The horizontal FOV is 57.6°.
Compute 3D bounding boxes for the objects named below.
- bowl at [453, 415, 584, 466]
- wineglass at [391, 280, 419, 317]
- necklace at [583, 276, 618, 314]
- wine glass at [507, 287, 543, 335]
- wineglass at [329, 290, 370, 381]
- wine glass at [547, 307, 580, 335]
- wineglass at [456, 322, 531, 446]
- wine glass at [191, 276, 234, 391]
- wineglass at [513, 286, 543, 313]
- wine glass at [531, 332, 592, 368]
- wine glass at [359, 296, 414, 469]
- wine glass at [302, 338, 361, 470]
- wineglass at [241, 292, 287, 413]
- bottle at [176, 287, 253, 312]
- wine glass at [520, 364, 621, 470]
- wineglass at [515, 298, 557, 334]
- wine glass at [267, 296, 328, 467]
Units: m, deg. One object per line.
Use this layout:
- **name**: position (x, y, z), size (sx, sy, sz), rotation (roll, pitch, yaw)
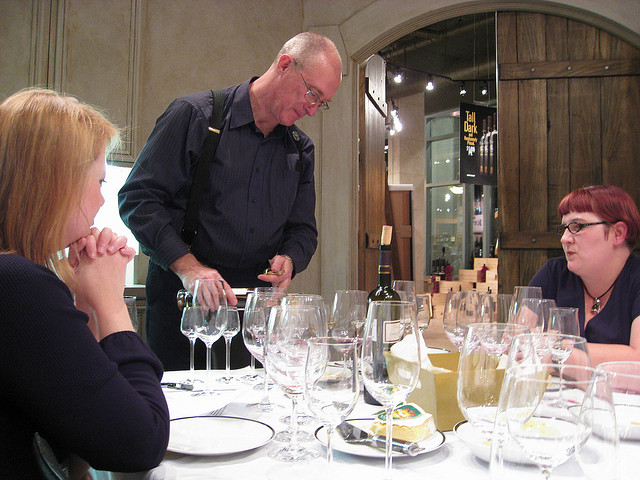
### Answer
- **bowl**: position (0.356, 0.372, 1.102), size (0.153, 0.047, 0.159), rotation (0, -4, 0)
- **wineglass**: position (0.285, 0.187, 1.934), size (0.092, 0.163, 0.109), rotation (-2, -3, 14)
- **necklace**: position (1.156, 0.223, 2.394), size (0.015, 0.194, 0.148), rotation (32, -23, -35)
- **wine glass**: position (0.594, 0.208, 1.713), size (0.076, 0.140, 0.078), rotation (0, 0, -13)
- **wineglass**: position (0.097, 0.289, 1.802), size (0.092, 0.279, 0.105), rotation (0, 4, -27)
- **wine glass**: position (0.678, 0.220, 1.653), size (0.077, 0.089, 0.083), rotation (2, -4, -15)
- **wineglass**: position (0.367, 0.323, 1.272), size (0.143, 0.318, 0.148), rotation (-9, 17, -14)
- **wine glass**: position (-0.351, 0.302, 1.850), size (0.105, 0.319, 0.115), rotation (19, 24, 35)
- **wineglass**: position (0.681, 0.196, 1.930), size (0.078, 0.088, 0.083), rotation (2, -5, -17)
- **wine glass**: position (0.531, 0.235, 1.238), size (0.088, 0.110, 0.095), rotation (-4, -10, 35)
- **wine glass**: position (0.145, 0.298, 1.227), size (0.114, 0.332, 0.092), rotation (0, -2, 2)
- **wine glass**: position (0.024, 0.339, 1.214), size (0.110, 0.268, 0.074), rotation (0, -2, 1)
- **wineglass**: position (-0.149, 0.306, 1.652), size (0.128, 0.348, 0.141), rotation (6, 8, 31)
- **bottle**: position (-0.366, 0.178, 1.956), size (0.308, 0.099, 0.100), rotation (0, -6, 24)
- **wine glass**: position (0.452, 0.335, 1.055), size (0.163, 0.218, 0.138), rotation (-1, -2, 30)
- **wineglass**: position (0.598, 0.200, 1.633), size (0.098, 0.113, 0.109), rotation (-1, -2, 10)
- **wine glass**: position (-0.057, 0.325, 1.422), size (0.149, 0.444, 0.161), rotation (3, 9, 10)
